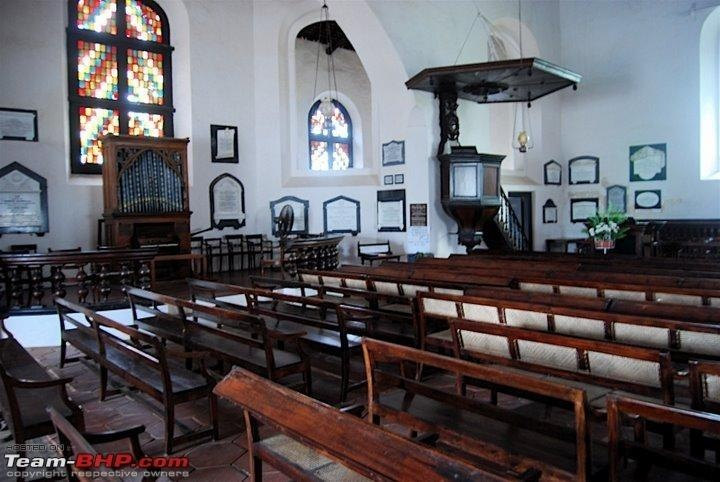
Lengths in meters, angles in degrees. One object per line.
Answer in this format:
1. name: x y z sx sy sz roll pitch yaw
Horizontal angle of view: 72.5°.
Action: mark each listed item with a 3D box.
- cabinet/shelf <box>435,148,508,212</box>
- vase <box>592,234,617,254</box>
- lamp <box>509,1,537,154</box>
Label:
1. cabinet/shelf: 2.514 -1.448 11.442 1.339 1.388 1.548 0 0 16
2. vase: 4.831 0.037 9.734 0.449 0.295 0.495 -1 -4 18
3. lamp: 4.264 -4.414 13.111 0.538 4.153 1.856 -2 4 20
